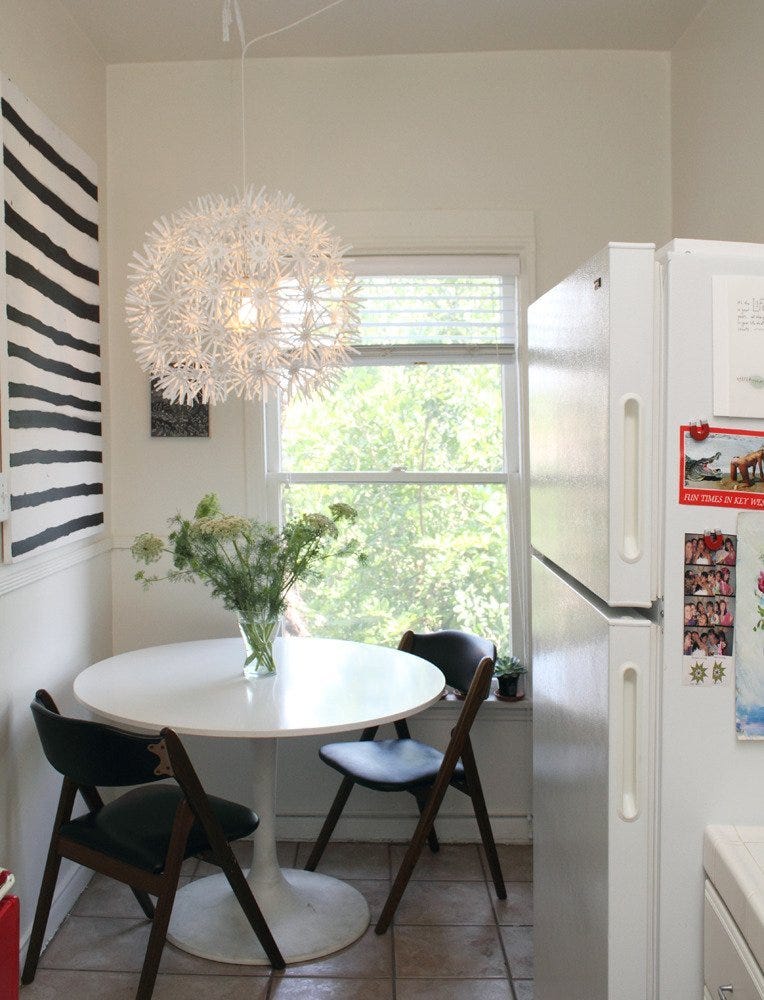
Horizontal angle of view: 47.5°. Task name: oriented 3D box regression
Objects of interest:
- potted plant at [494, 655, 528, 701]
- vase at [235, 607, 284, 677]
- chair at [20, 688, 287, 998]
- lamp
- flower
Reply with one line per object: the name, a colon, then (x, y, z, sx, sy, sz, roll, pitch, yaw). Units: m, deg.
potted plant: (0.440, 0.622, 3.060, 0.132, 0.137, 0.121, -1, 3, -35)
vase: (-0.355, 0.385, 2.404, 0.137, 0.210, 0.144, -13, -14, 37)
chair: (-0.600, 0.830, 2.107, 0.572, 0.767, 0.497, 4, 5, 29)
lamp: (-0.285, -0.626, 2.251, 0.592, 0.920, 0.680, 0, 9, 7)
flower: (-0.410, 0.133, 2.372, 0.462, 0.259, 0.492, -6, -7, 21)
